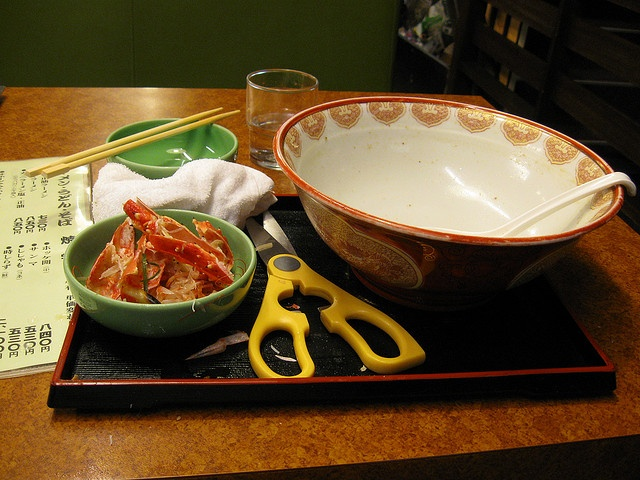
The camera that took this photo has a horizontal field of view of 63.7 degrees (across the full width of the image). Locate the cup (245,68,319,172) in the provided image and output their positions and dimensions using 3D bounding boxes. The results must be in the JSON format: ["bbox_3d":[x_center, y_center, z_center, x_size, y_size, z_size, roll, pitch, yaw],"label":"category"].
[{"bbox_3d":[-0.079,-0.229,1.026,0.170,0.200,0.179,2,34,-2],"label":"cup"}]

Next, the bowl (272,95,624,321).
[{"bbox_3d":[0.168,-0.037,0.713,0.456,0.155,0.386,0,29,-9],"label":"bowl"}]

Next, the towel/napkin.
[{"bbox_3d":[-0.193,-0.074,0.746,0.190,0.069,0.126,3,23,-19],"label":"towel/napkin"}]

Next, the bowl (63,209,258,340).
[{"bbox_3d":[-0.201,0.052,0.667,0.234,0.091,0.241,5,26,-2],"label":"bowl"}]
